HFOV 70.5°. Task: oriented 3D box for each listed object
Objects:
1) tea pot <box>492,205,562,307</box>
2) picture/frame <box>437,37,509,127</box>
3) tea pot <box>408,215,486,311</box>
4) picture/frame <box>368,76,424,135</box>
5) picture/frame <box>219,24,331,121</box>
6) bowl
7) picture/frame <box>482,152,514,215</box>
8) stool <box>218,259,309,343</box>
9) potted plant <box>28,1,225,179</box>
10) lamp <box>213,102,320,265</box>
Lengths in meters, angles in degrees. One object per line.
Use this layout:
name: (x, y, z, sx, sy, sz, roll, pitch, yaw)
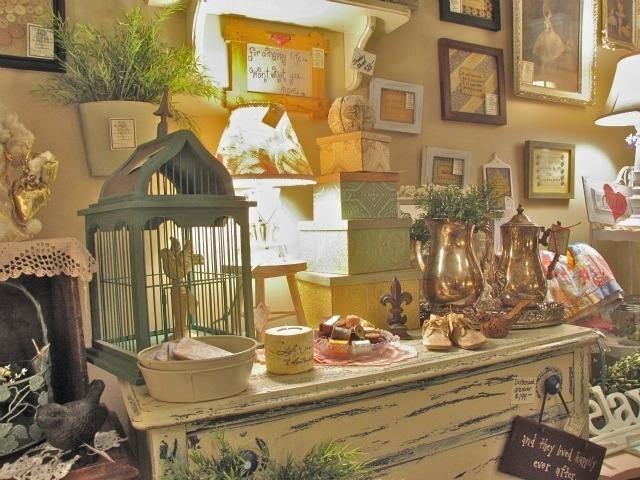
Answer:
tea pot: (0.739, 0.077, 1.673, 0.169, 0.338, 0.093, -1, 2, 22)
picture/frame: (0.796, -0.813, 2.349, 0.419, 0.408, 0.026, -3, 1, -25)
tea pot: (0.505, 0.089, 1.705, 0.268, 0.348, 0.237, 0, 6, 12)
picture/frame: (0.339, -0.619, 2.089, 0.382, 0.302, 0.043, 6, -5, -37)
picture/frame: (-0.200, -0.669, 1.798, 0.468, 0.382, 0.091, -2, 8, -32)
bowl: (-0.292, 0.283, 1.073, 0.182, 0.072, 0.178, -4, -4, 0)
picture/frame: (0.984, -0.298, 2.464, 0.249, 0.334, 0.080, -3, 2, -38)
stool: (-0.146, 0.253, 1.647, 0.261, 0.305, 0.267, -9, -2, -3)
potted plant: (-0.657, -0.463, 1.745, 0.679, 0.718, 0.512, 3, 3, -24)
lamp: (-0.200, -0.203, 1.676, 0.338, 0.574, 0.409, -2, 2, -12)
